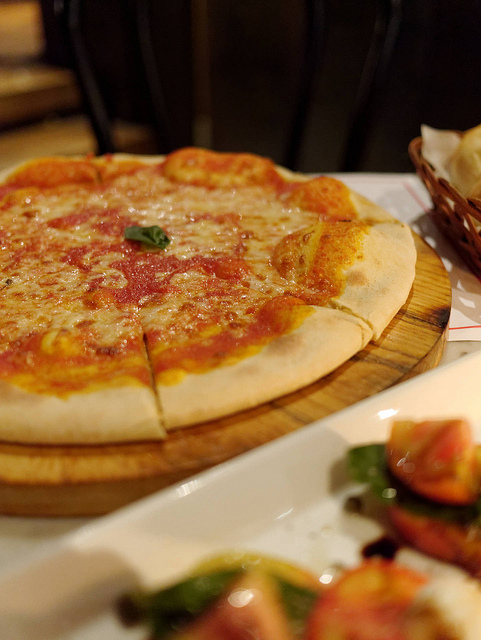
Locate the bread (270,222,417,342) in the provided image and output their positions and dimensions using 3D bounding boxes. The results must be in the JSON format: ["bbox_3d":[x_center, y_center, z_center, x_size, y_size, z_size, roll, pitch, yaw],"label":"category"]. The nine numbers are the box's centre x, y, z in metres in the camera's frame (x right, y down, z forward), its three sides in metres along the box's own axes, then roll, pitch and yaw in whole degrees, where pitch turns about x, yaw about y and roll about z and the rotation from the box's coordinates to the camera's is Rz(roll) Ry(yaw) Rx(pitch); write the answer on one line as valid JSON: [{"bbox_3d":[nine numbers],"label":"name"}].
[{"bbox_3d":[0.187,-0.083,1.058,0.250,0.060,0.228,1,37,7],"label":"bread"}]
